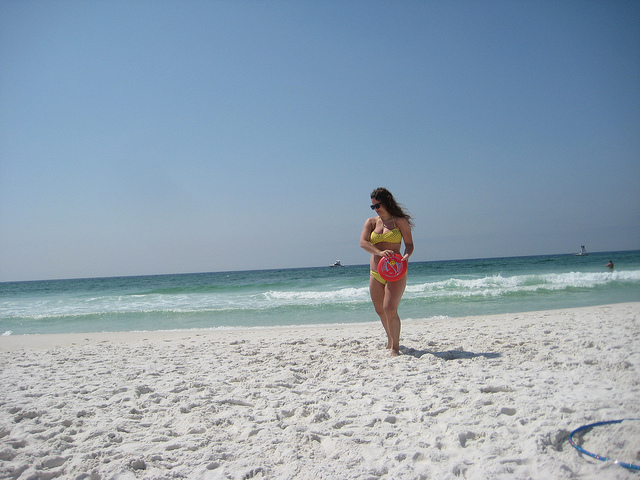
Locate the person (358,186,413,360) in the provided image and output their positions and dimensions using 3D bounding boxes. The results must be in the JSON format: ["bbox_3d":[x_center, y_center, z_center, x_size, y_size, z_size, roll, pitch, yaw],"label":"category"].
[{"bbox_3d":[0.878,0.409,5.961,0.525,1.456,0.701,-1,-2,-45],"label":"person"}]
